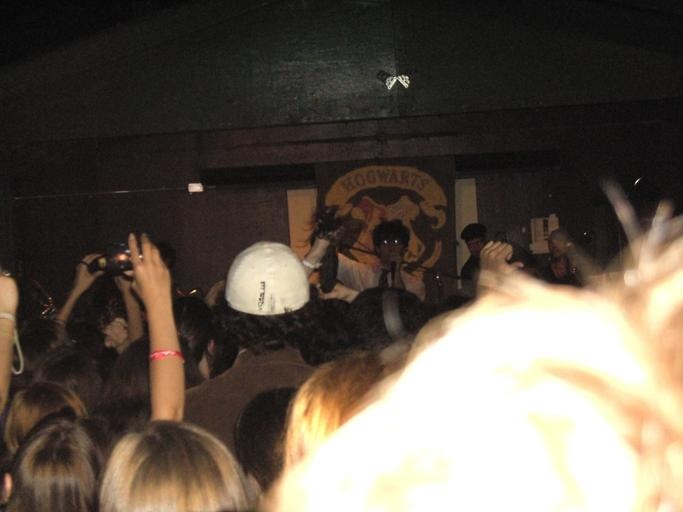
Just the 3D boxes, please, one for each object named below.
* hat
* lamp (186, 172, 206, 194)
[{"bbox_3d":[-0.527,0.127,4.967,0.499,0.328,0.508,-1,3,-6],"label":"hat"},{"bbox_3d":[-1.157,-0.577,5.597,0.150,0.152,0.046,-2,-21,20],"label":"lamp"}]
